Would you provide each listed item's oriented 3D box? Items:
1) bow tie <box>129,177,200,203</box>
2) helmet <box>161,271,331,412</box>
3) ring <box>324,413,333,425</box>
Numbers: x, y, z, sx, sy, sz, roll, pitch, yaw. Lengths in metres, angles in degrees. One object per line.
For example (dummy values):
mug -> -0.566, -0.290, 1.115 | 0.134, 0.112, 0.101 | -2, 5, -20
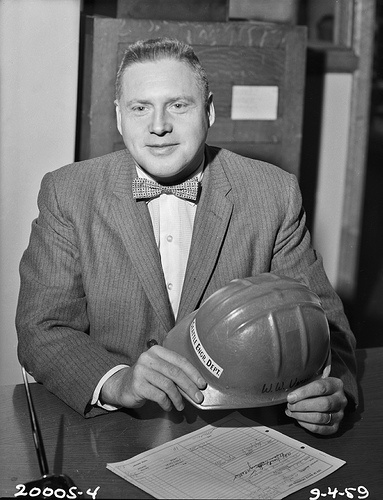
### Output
bow tie -> -0.081, -0.192, 1.511 | 0.209, 0.071, 0.150 | -3, 14, -23
helmet -> 0.117, 0.144, 1.140 | 0.410, 0.235, 0.368 | -12, 21, -42
ring -> 0.296, 0.362, 1.080 | 0.006, 0.023, 0.023 | 13, 18, 23
